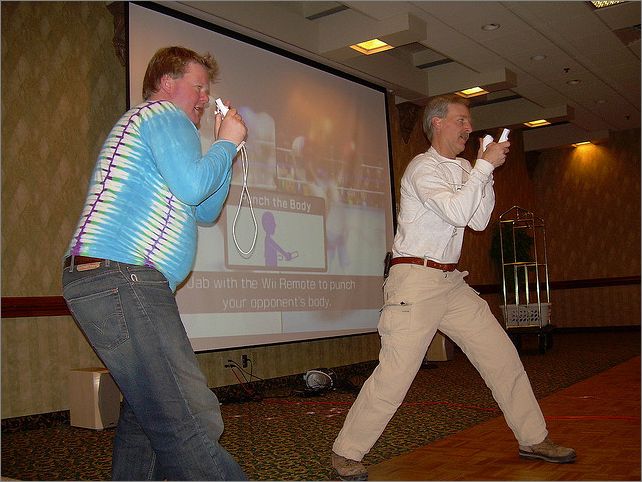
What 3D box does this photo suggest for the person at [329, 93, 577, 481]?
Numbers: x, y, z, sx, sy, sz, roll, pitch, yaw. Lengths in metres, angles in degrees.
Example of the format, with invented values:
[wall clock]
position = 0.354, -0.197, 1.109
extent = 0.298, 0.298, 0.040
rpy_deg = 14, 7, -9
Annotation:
[person]
position = 0.630, 0.219, 2.438
extent = 1.198, 2.068, 0.488
rpy_deg = -1, 3, -8

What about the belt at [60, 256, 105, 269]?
[belt]
position = -0.658, 0.058, 1.272
extent = 0.130, 0.035, 0.012
rpy_deg = 1, 3, 19

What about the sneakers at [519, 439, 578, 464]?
[sneakers]
position = 1.189, 1.087, 2.446
extent = 0.283, 0.148, 0.117
rpy_deg = -2, -8, 17
